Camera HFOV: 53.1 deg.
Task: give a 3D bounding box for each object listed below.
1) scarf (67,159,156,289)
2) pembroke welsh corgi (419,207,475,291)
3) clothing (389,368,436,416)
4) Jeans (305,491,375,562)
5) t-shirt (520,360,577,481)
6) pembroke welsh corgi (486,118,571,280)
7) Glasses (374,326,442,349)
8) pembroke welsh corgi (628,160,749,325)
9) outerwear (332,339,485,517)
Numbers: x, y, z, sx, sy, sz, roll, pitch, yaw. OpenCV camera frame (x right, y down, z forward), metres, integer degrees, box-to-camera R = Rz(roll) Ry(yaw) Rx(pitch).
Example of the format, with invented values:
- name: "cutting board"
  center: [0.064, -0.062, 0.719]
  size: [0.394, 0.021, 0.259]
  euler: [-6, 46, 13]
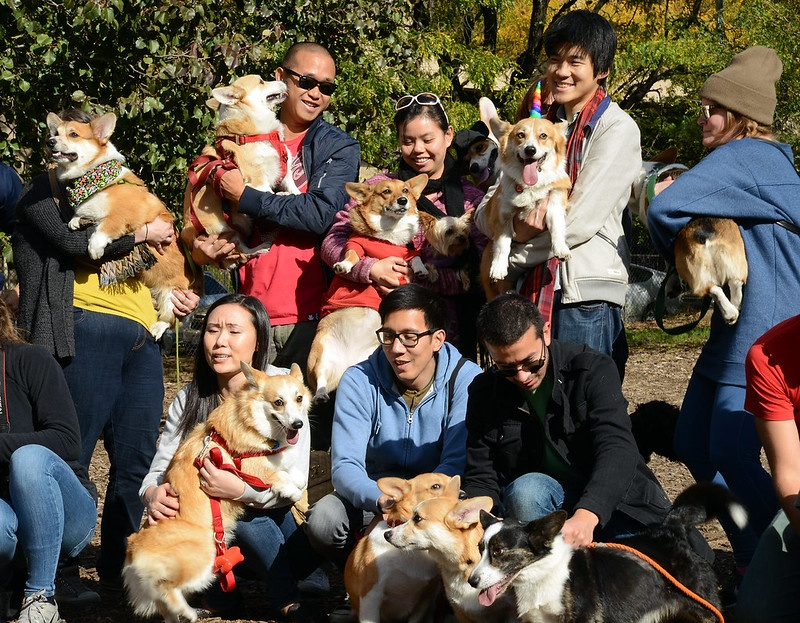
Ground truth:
- name: "scarf"
  center: [-1.798, -0.396, 5.155]
  size: [0.551, 0.631, 0.166]
  euler: [15, 39, -18]
- name: "pembroke welsh corgi"
  center: [0.310, -0.516, 5.876]
  size: [0.387, 0.526, 1.011]
  euler: [-7, 12, -7]
- name: "clothing"
  center: [0.078, 0.477, 4.840]
  size: [0.179, 0.280, 0.130]
  euler: [0, -1, 4]
- name: "Jeans"
  center: [-0.372, 1.284, 4.745]
  size: [0.366, 0.220, 0.677]
  euler: [-40, -8, -15]
- name: "t-shirt"
  center: [0.865, 0.625, 4.628]
  size: [0.396, 0.570, 0.269]
  euler: [-28, 31, -2]
- name: "pembroke welsh corgi"
  center: [0.867, -0.872, 5.413]
  size: [0.528, 0.982, 1.390]
  euler: [-1, 14, 7]
- name: "Glasses"
  center: [0.042, 0.152, 4.782]
  size: [0.365, 0.114, 0.159]
  euler: [1, 12, 2]
- name: "pembroke welsh corgi"
  center: [1.824, -0.543, 5.105]
  size: [0.371, 0.838, 1.359]
  euler: [-13, 18, 5]
- name: "outerwear"
  center: [0.024, 0.731, 5.002]
  size: [0.849, 1.086, 0.903]
  euler: [6, -15, -5]
